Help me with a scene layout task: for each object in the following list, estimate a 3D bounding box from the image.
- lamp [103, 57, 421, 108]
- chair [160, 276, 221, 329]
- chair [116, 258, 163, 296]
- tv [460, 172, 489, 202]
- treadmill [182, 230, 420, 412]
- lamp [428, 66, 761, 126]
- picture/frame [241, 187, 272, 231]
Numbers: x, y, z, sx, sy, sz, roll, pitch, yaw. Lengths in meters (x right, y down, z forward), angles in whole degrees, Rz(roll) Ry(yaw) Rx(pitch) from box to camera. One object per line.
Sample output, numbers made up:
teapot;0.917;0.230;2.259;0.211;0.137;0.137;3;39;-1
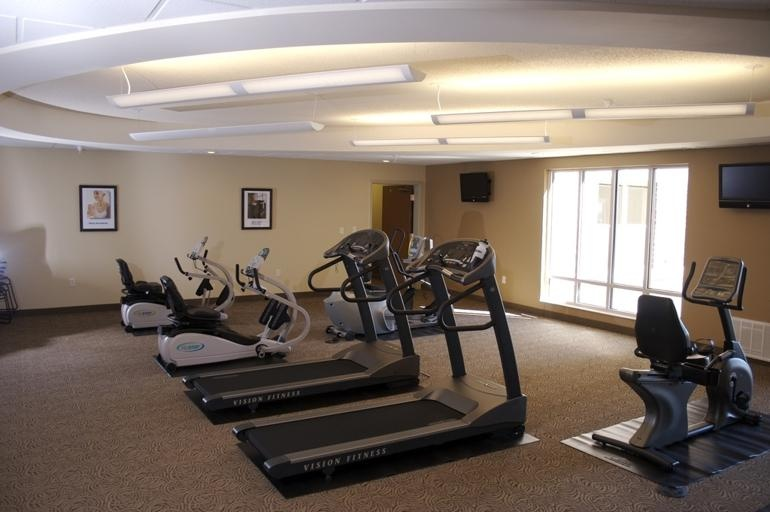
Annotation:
lamp;-1.187;-1.657;5.095;3.216;0.309;0.346;5;14;19
chair;-2.792;0.650;7.479;0.900;0.685;0.639;1;4;-24
chair;-4.297;0.348;9.098;0.854;0.679;0.565;-2;6;-24
tv;1.909;-1.484;11.170;0.233;0.623;0.681;-3;3;-33
treadmill;-1.014;0.770;6.540;2.823;2.030;1.156;0;5;-33
lamp;2.327;-1.623;5.934;3.204;0.225;0.395;4;13;13
picture/frame;-2.739;-1.016;11.008;0.948;1.138;0.077;-1;3;-33
